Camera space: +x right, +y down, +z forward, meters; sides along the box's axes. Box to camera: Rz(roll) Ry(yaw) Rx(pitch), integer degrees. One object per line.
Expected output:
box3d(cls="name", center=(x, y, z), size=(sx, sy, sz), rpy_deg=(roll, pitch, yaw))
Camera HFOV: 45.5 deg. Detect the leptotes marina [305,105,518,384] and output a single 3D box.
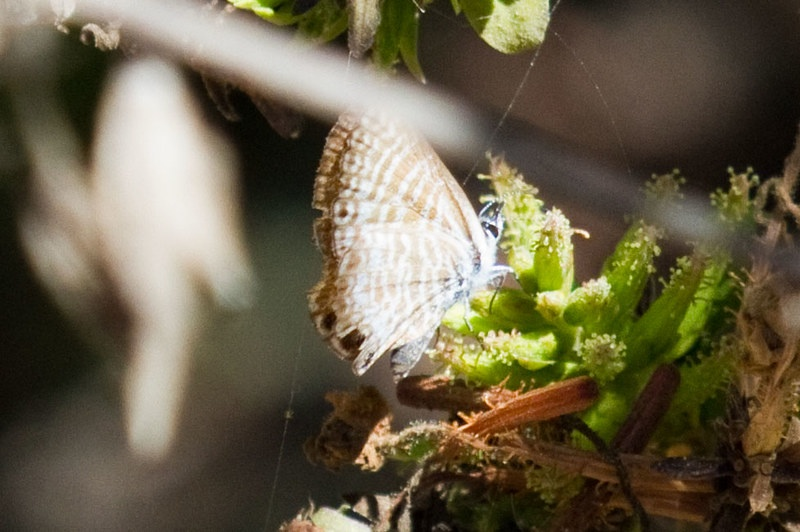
box3d(cls="leptotes marina", center=(0.039, -0.015, 1.229), size=(0.278, 0.249, 0.349), rpy_deg=(-18, -13, 9))
